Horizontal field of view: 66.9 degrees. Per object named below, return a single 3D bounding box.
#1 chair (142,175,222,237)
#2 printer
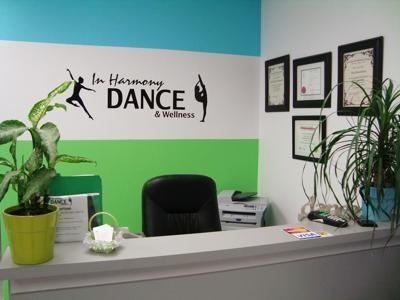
[{"bbox_3d":[-0.186,0.431,2.721,0.451,0.713,0.550,-2,-2,-13],"label":"chair"},{"bbox_3d":[0.509,0.704,3.473,0.570,0.424,0.533,5,14,13],"label":"printer"}]
